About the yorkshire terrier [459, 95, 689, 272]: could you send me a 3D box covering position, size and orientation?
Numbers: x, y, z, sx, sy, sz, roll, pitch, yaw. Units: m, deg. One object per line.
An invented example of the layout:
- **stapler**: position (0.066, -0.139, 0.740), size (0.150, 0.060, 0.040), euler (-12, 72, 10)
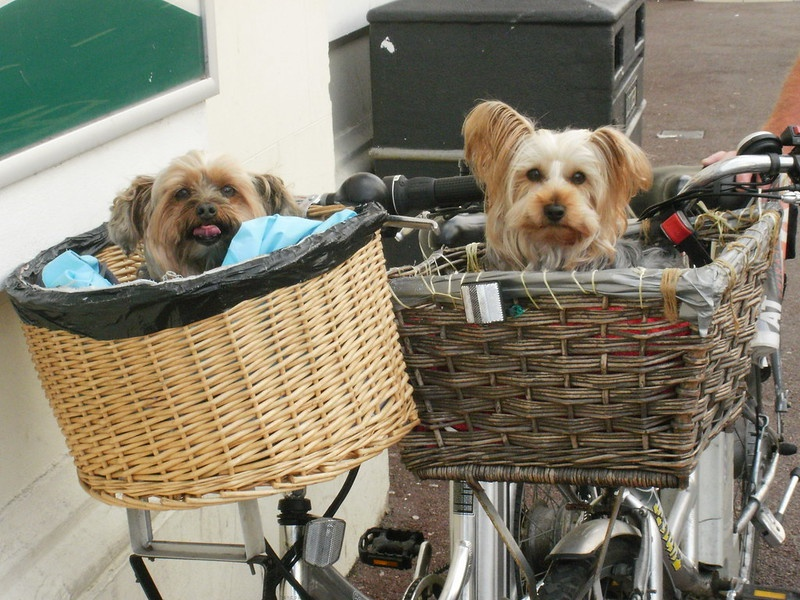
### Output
- **yorkshire terrier**: position (0.473, -0.307, 3.454), size (0.536, 0.412, 0.611), euler (3, 12, -16)

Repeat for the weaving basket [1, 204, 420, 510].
- **weaving basket**: position (-0.371, 0.144, 2.845), size (0.827, 0.464, 0.789), euler (-24, 11, -24)

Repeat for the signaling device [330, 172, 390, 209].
- **signaling device**: position (-0.091, -0.299, 3.212), size (0.121, 0.113, 0.095), euler (-1, 24, -12)

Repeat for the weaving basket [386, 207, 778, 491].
- **weaving basket**: position (0.411, 0.163, 2.837), size (0.651, 0.333, 0.835), euler (-1, 4, 19)
